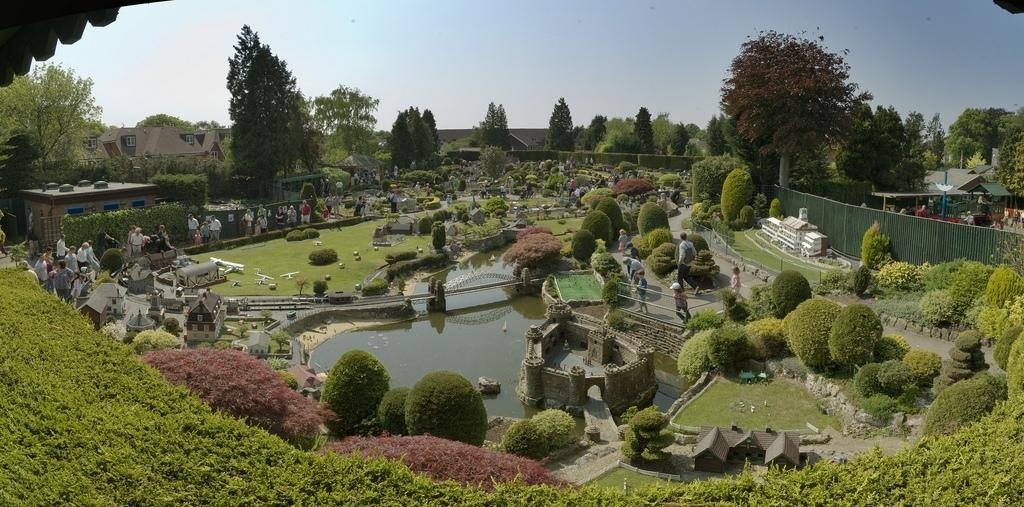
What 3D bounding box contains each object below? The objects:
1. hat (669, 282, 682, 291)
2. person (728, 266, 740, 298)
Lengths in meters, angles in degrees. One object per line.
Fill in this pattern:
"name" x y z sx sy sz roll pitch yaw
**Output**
"hat" 9.571 1.883 45.595 0.520 0.384 0.980 3 10 15
"person" 12.714 1.513 44.390 0.482 1.752 1.311 3 10 13
